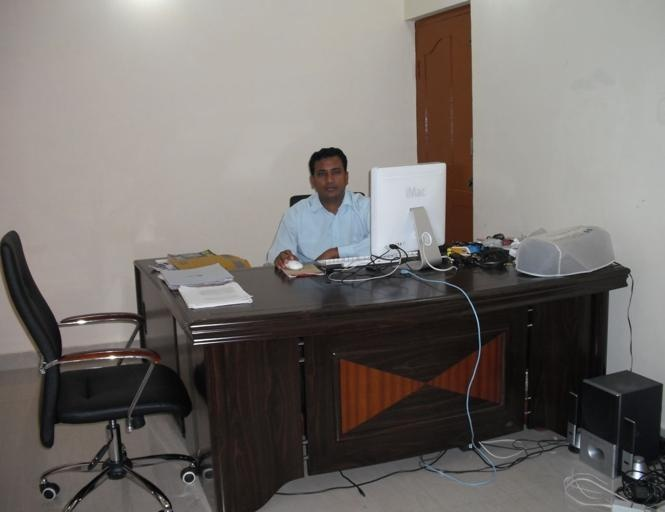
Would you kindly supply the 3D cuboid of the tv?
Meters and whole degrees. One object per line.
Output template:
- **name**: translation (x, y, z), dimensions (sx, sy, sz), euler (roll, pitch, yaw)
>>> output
- **tv**: translation (0.418, -0.215, 3.005), dimensions (0.491, 0.558, 0.182), euler (-6, 19, -21)

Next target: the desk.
- **desk**: translation (0.220, 0.554, 2.716), dimensions (1.983, 1.127, 1.283), euler (-6, 16, -18)

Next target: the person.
- **person**: translation (-0.151, -0.361, 4.006), dimensions (0.771, 0.744, 0.478), euler (-8, 25, -14)
